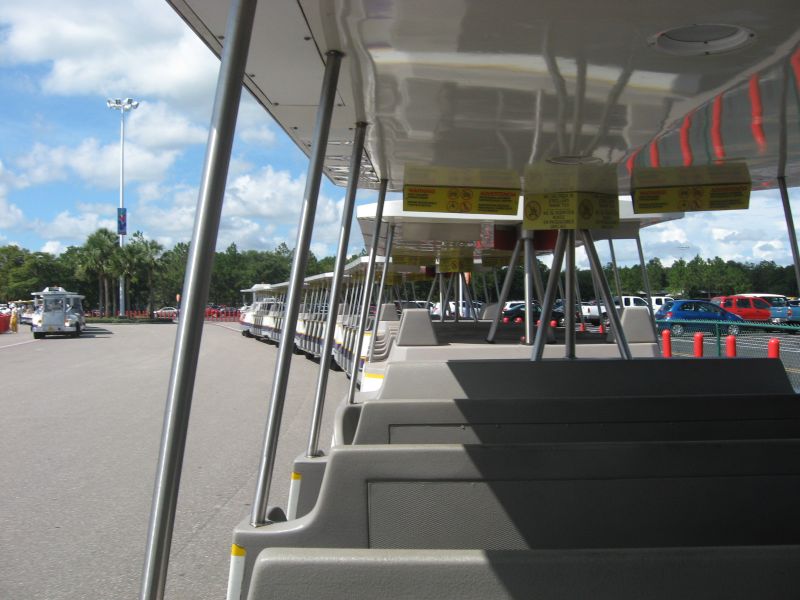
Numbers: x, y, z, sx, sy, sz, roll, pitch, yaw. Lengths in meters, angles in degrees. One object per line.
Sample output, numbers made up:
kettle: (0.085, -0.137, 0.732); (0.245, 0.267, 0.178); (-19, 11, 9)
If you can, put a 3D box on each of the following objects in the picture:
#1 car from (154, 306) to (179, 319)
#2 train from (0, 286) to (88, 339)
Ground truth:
car: (-43.780, 2.232, 112.677); (3.978, 1.971, 2.372); (6, -5, -6)
train: (-32.252, 0.917, 53.763); (4.895, 3.945, 8.614); (0, -5, -16)
